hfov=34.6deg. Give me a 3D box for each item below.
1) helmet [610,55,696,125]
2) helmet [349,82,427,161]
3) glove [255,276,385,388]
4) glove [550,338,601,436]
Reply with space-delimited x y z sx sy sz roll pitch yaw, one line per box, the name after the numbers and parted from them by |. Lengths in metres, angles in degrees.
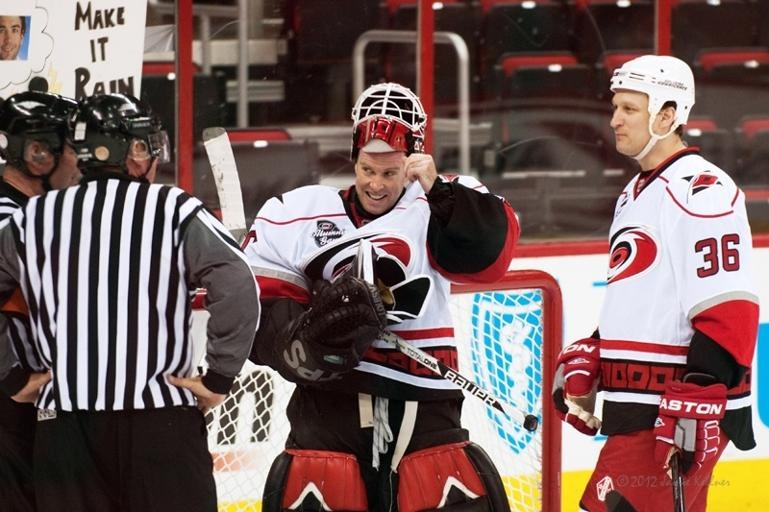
1.178 -0.750 5.408 0.394 0.316 0.292 3 15 -11 | helmet
0.008 -0.556 5.023 0.249 0.260 0.326 3 43 6 | helmet
-0.282 0.290 4.979 0.587 0.449 0.274 0 2 7 | glove
0.842 0.567 5.389 0.156 0.364 0.361 23 -44 -11 | glove
